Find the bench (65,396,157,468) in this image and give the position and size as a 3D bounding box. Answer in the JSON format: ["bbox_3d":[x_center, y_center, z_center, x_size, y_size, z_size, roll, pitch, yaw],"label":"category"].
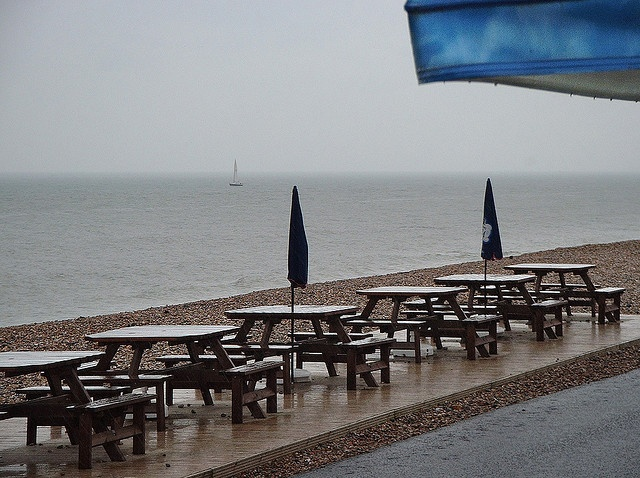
[{"bbox_3d":[-1.612,1.443,6.817,0.436,0.445,0.883,-2,-1,20],"label":"bench"}]

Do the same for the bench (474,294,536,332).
[{"bbox_3d":[2.775,1.045,12.977,0.923,0.458,0.606,-2,-5,21],"label":"bench"}]

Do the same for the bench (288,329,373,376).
[{"bbox_3d":[0.003,1.243,9.902,0.496,0.446,0.906,-1,-1,32],"label":"bench"}]

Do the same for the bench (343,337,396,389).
[{"bbox_3d":[0.506,1.309,9.401,0.416,0.530,0.741,-3,0,24],"label":"bench"}]
